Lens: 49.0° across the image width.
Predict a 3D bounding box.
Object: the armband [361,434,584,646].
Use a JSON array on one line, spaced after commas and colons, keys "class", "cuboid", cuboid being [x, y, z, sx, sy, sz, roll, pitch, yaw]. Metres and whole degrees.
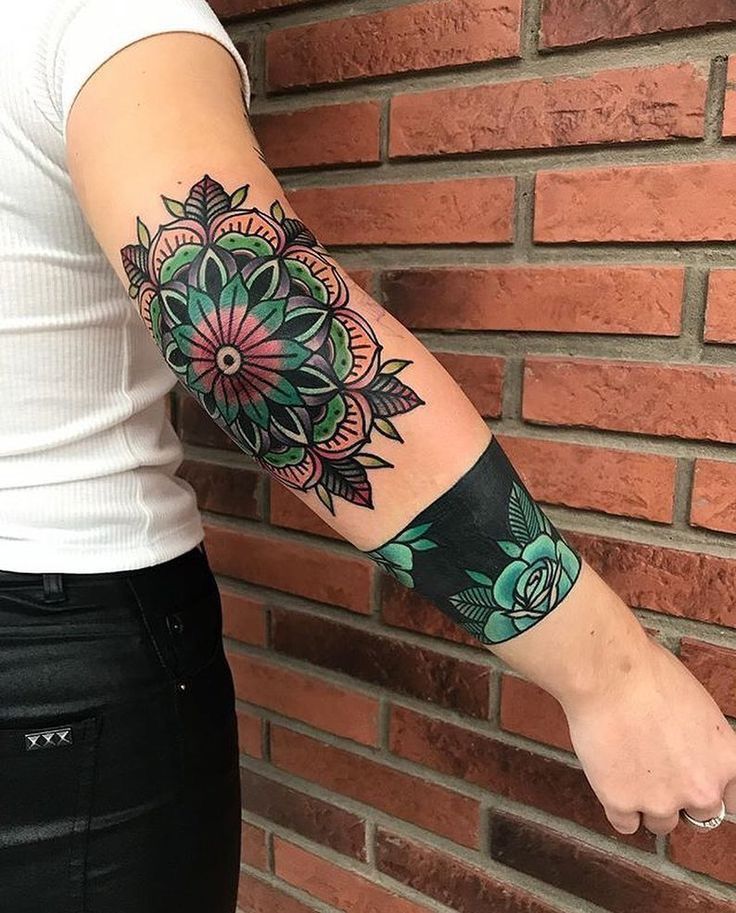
[{"class": "armband", "cuboid": [0.081, 0.058, 0.638, 0.154, 0.153, 0.054, -48, 15, 11]}]
